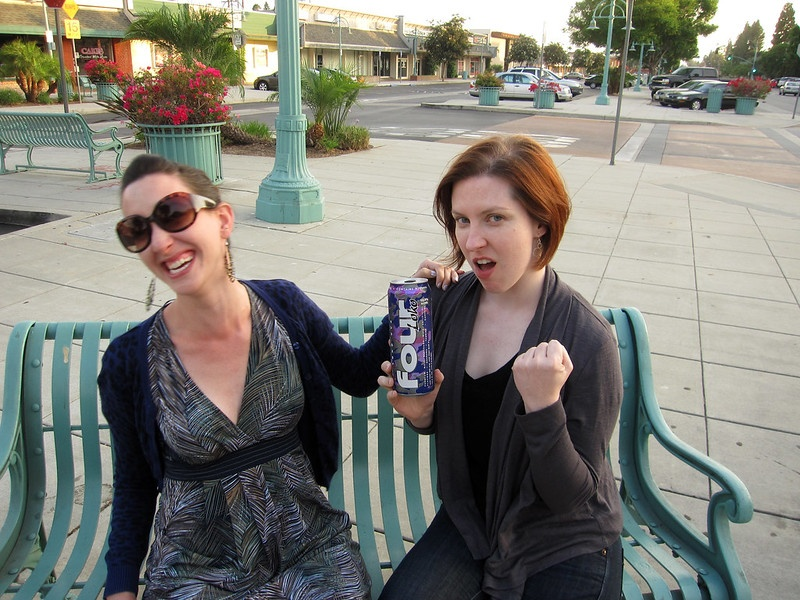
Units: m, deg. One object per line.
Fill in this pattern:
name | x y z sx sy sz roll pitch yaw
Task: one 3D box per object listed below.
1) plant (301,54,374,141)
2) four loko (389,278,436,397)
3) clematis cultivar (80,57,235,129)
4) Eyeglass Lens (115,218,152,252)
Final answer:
plant | -2.019 -5.645 15.365 1.846 2.839 1.635 -3 17 -21
four loko | 0.039 0.141 1.946 0.170 0.435 0.177 5 15 27
clematis cultivar | -4.770 -4.338 11.167 1.751 1.419 3.496 -8 23 -29
Eyeglass Lens | -0.935 -0.234 1.893 0.125 0.055 0.130 2 21 4
